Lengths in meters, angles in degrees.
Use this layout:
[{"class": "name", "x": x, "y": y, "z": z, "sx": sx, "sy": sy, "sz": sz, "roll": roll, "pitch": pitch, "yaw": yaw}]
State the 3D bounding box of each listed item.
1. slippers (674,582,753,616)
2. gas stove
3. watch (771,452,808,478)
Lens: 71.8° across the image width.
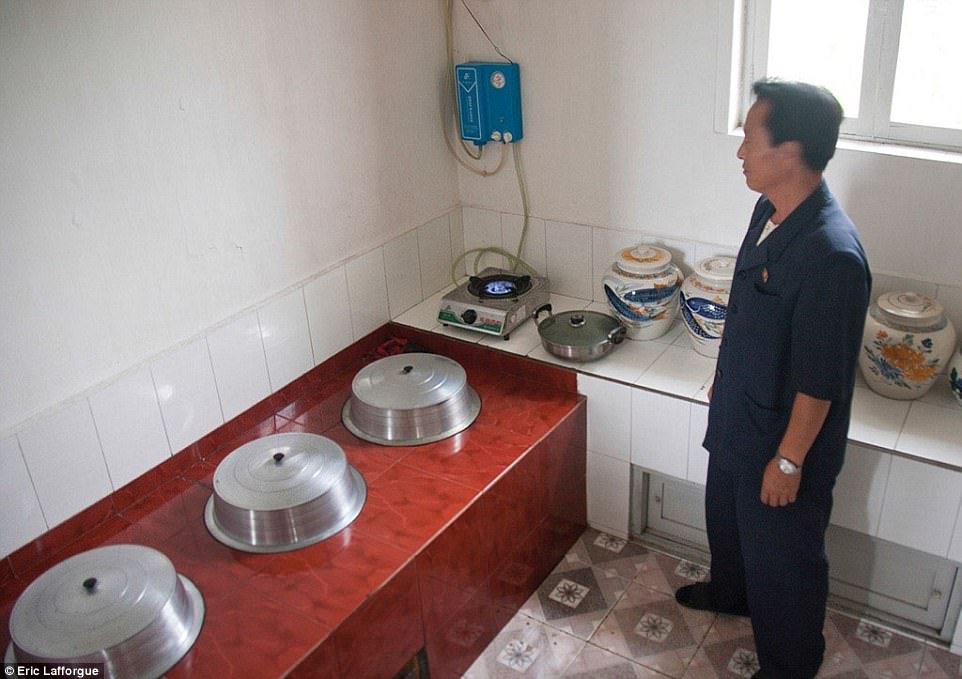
[{"class": "slippers", "x": 0.891, "y": 1.018, "z": 2.584, "sx": 0.249, "sy": 0.068, "sz": 0.110, "roll": 13, "pitch": 33, "yaw": 30}, {"class": "gas stove", "x": 0.058, "y": -0.162, "z": 3.091, "sx": 0.356, "sy": 0.185, "sz": 0.452, "roll": 11, "pitch": 30, "yaw": 24}, {"class": "watch", "x": 0.941, "y": 0.388, "z": 2.020, "sx": 0.073, "sy": 0.051, "sz": 0.078, "roll": -17, "pitch": 35, "yaw": -29}]
